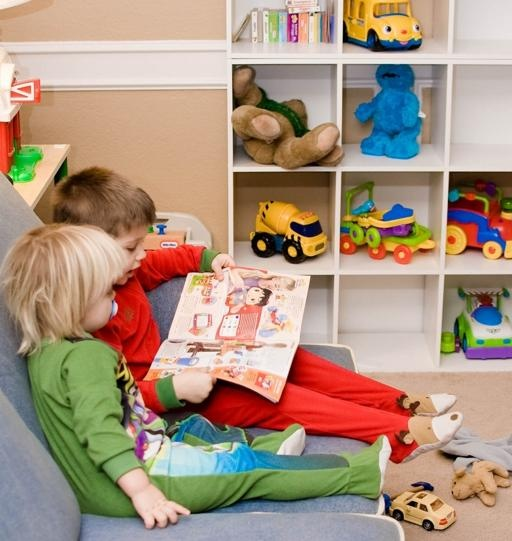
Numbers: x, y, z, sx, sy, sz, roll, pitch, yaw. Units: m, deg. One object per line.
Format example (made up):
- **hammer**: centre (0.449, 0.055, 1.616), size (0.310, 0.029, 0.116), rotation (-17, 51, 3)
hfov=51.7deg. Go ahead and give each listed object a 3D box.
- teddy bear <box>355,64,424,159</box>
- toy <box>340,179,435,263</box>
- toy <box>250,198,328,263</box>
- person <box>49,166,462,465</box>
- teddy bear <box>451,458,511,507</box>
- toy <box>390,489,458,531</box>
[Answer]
- **teddy bear**: centre (0.458, -0.554, 1.845), size (0.241, 0.307, 0.229), rotation (1, 22, 16)
- **toy**: centre (0.458, -0.196, 1.988), size (0.426, 0.263, 0.214), rotation (9, 28, 20)
- **toy**: centre (0.108, -0.151, 1.934), size (0.298, 0.190, 0.184), rotation (8, 22, 24)
- **person**: centre (0.015, 0.060, 1.248), size (1.084, 0.598, 0.466), rotation (11, 27, 5)
- **teddy bear**: centre (0.545, 0.499, 1.293), size (0.095, 0.049, 0.120), rotation (0, 16, 32)
- **toy**: centre (0.382, 0.529, 1.195), size (0.114, 0.045, 0.076), rotation (14, 22, 26)
